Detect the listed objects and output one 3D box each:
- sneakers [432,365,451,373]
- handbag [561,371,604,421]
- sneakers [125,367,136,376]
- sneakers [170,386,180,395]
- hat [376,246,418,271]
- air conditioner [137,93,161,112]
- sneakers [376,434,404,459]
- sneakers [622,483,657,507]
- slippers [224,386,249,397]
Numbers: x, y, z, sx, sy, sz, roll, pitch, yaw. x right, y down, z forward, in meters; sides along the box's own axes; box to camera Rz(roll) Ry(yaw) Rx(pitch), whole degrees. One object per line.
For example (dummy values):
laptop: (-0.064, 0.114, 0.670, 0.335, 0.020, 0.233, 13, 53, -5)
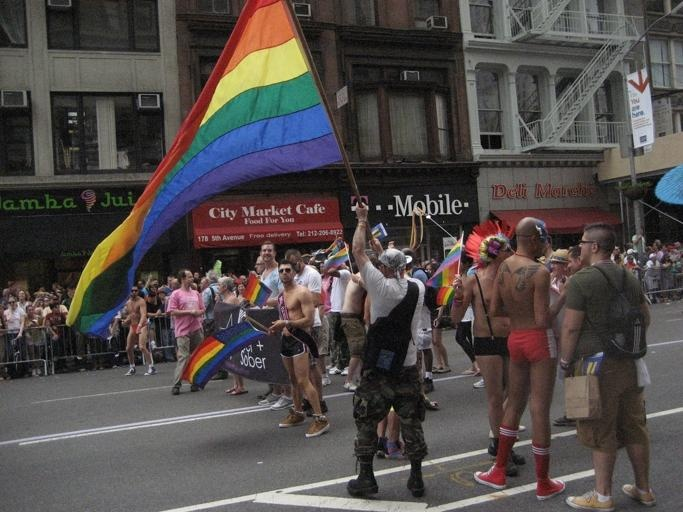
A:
sneakers: (2.167, 2.426, 18.913, 0.372, 0.156, 0.143, 1, -4, 11)
handbag: (3.396, 1.934, 12.259, 0.696, 0.854, 0.379, -2, -4, 28)
sneakers: (-5.097, 2.807, 21.400, 0.298, 0.212, 0.117, 2, -4, 5)
sneakers: (-3.470, 2.817, 18.478, 0.127, 0.229, 0.221, -2, -19, 8)
hat: (0.893, 0.049, 14.030, 0.385, 0.245, 0.537, 0, 24, -5)
air conditioner: (-6.131, -4.935, 28.027, 0.846, 0.637, 0.459, 0, -3, -24)
sneakers: (0.801, 3.070, 14.111, 0.239, 0.293, 0.679, -1, -4, 23)
sneakers: (4.252, 3.394, 12.473, 0.191, 0.214, 0.520, -3, 13, -23)
slippers: (-2.189, 2.814, 18.382, 0.551, 0.244, 0.169, 5, -7, 6)
